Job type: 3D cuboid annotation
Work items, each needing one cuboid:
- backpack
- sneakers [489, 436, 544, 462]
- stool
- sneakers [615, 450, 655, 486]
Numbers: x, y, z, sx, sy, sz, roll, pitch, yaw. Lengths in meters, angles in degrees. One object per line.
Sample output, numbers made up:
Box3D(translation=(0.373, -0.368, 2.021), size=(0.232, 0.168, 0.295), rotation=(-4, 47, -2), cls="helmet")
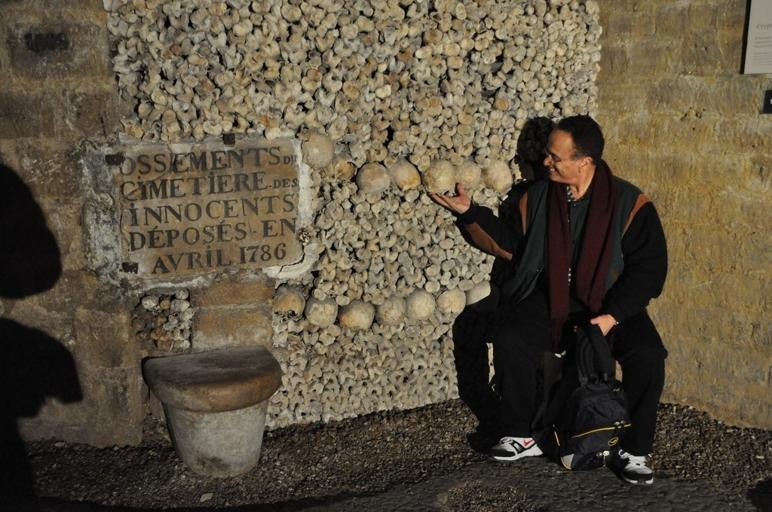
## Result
Box3D(translation=(1.155, 0.819, 5.456), size=(0.396, 0.862, 0.571), rotation=(-8, 15, -14), cls="backpack")
Box3D(translation=(0.789, 1.161, 5.599), size=(0.337, 0.157, 0.134), rotation=(-1, 3, -9), cls="sneakers")
Box3D(translation=(-1.039, 0.954, 5.596), size=(0.840, 0.597, 0.685), rotation=(-4, 14, -23), cls="stool")
Box3D(translation=(1.463, 1.251, 5.453), size=(0.125, 0.141, 0.314), rotation=(-1, 0, -12), cls="sneakers")
